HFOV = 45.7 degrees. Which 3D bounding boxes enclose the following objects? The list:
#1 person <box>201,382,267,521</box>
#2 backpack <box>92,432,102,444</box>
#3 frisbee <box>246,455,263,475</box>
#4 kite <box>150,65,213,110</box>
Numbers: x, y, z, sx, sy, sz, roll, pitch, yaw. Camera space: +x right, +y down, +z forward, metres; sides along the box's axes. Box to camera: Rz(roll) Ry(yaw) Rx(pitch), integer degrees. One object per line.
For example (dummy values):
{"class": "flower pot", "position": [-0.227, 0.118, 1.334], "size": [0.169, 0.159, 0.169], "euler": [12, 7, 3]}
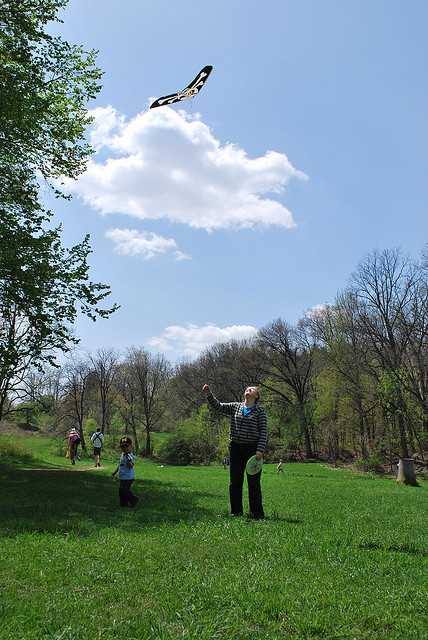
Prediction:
{"class": "person", "position": [0.395, 2.146, 8.274], "size": [0.923, 2.124, 1.276], "euler": [-1, -9, 0]}
{"class": "backpack", "position": [-4.989, 5.040, 21.818], "size": [0.300, 0.404, 0.664], "euler": [0, -10, -8]}
{"class": "frisbee", "position": [0.621, 2.233, 7.864], "size": [0.235, 0.312, 0.382], "euler": [-2, -10, 3]}
{"class": "kite", "position": [-0.912, -6.650, 15.133], "size": [0.913, 1.189, 1.784], "euler": [6, -12, -35]}
